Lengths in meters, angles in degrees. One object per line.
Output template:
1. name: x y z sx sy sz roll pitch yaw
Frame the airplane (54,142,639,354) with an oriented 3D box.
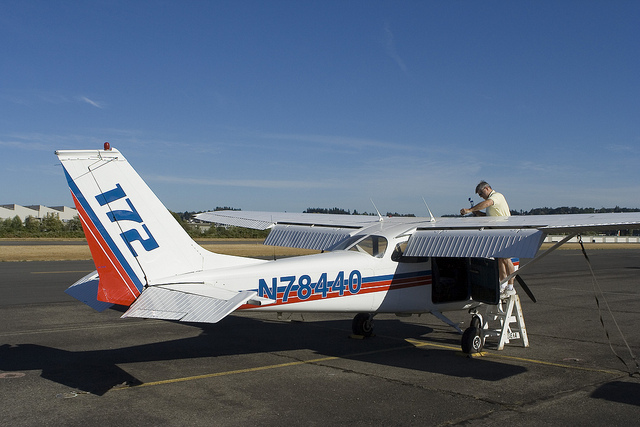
1. airplane: -0.374 0.770 9.182 9.164 3.316 4.412 1 -1 -12
